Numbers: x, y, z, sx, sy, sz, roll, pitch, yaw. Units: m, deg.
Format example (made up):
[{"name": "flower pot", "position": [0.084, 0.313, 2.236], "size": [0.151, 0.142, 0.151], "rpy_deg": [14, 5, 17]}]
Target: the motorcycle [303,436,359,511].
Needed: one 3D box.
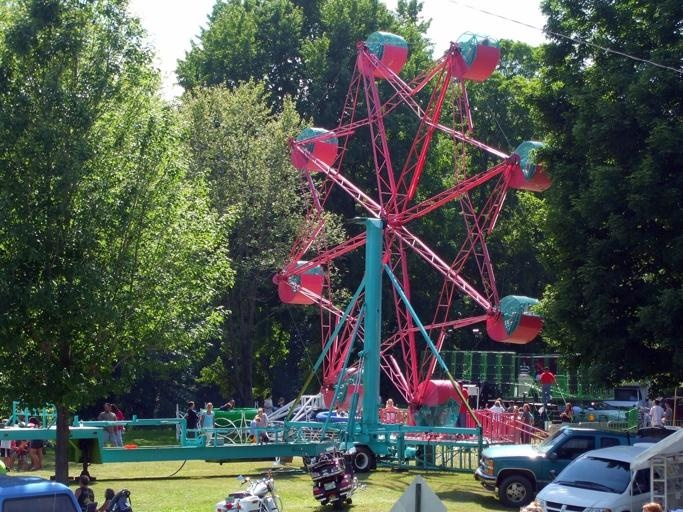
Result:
[{"name": "motorcycle", "position": [-0.296, 6.216, 38.021], "size": [1.232, 1.741, 1.256], "rpy_deg": [1, -5, -11]}]

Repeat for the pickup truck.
[{"name": "pickup truck", "position": [5.774, 5.869, 38.069], "size": [3.620, 1.744, 2.235], "rpy_deg": [1, -6, 5]}]
